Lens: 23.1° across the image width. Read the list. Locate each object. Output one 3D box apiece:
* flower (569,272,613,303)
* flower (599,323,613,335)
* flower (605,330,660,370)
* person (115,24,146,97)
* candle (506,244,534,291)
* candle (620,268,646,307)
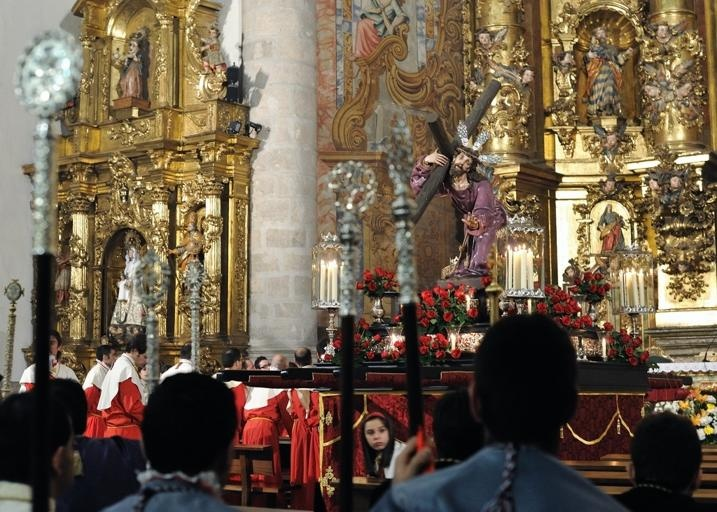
[{"bbox_3d":[2.849,0.370,21.534,0.431,0.383,0.408,-1,-1,-18],"label":"flower"},{"bbox_3d":[3.013,0.877,21.481,0.160,0.150,0.152,-2,-2,20],"label":"flower"},{"bbox_3d":[3.279,1.117,21.572,0.544,0.319,0.484,4,-12,-1],"label":"flower"},{"bbox_3d":[-3.666,-3.163,28.553,0.477,1.292,0.554,3,-9,-26],"label":"person"},{"bbox_3d":[1.823,0.118,20.040,0.310,0.555,0.133,-3,-8,12],"label":"candle"},{"bbox_3d":[3.382,0.394,21.669,0.300,0.495,0.260,-2,-8,8],"label":"candle"}]
